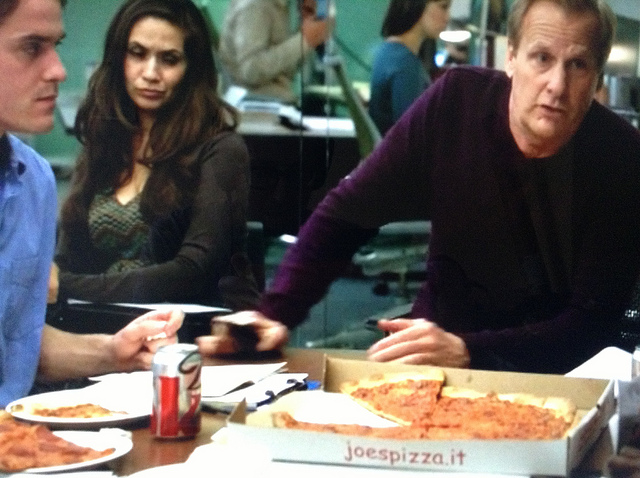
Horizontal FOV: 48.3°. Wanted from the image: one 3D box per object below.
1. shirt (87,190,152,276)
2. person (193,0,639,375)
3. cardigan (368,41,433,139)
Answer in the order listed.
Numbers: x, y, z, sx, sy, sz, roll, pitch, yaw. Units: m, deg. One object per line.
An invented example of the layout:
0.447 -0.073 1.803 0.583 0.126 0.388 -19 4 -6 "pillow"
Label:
-0.742 -0.019 2.648 0.234 0.312 0.026 3 9 6 "shirt"
0.446 -0.302 2.929 1.516 1.513 1.132 2 8 -32 "person"
0.291 -0.597 2.675 0.168 0.408 0.179 7 18 20 "cardigan"
